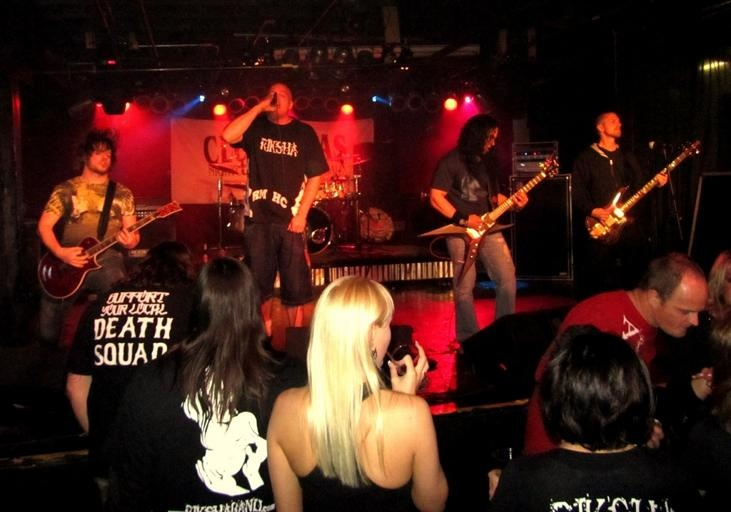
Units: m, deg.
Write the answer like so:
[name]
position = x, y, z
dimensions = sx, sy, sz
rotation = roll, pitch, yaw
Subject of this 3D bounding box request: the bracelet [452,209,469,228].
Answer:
[bracelet]
position = 0.840, -0.324, 4.845
dimensions = 0.130, 0.138, 0.091
rotation = -2, -2, 11

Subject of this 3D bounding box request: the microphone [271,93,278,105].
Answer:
[microphone]
position = -0.656, -1.140, 4.096
dimensions = 0.047, 0.067, 0.058
rotation = -1, -2, -10

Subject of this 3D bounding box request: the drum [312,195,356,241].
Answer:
[drum]
position = -0.479, -0.780, 10.845
dimensions = 0.784, 0.786, 0.830
rotation = 8, -23, -29

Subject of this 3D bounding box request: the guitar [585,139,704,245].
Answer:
[guitar]
position = 2.852, -0.605, 5.794
dimensions = 0.973, 0.888, 0.356
rotation = -1, -2, -4
